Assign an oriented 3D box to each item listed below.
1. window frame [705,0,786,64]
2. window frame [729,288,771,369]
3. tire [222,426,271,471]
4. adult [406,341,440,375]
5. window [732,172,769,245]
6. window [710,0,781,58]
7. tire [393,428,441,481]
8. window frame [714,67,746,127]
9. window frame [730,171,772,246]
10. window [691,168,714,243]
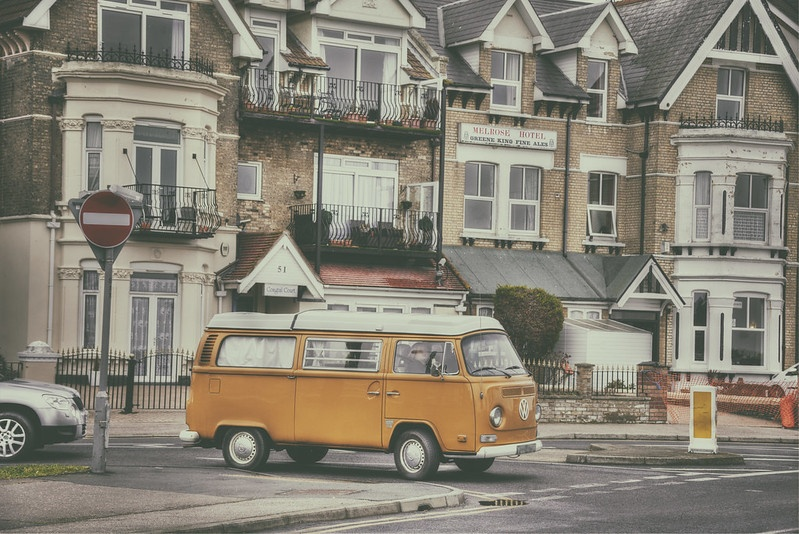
[{"bbox_3d":[12.171,-8.443,64.953,2.408,1.685,0.032,1,4,-16],"label":"window frame"},{"bbox_3d":[12.291,2.266,64.521,1.505,2.657,0.219,2,-3,-16],"label":"window frame"},{"bbox_3d":[-3.813,4.472,45.104,1.096,1.072,0.390,1,-4,20],"label":"tire"},{"bbox_3d":[0.567,2.237,44.628,0.568,0.817,0.475,8,-44,9],"label":"adult"},{"bbox_3d":[12.331,-2.126,64.362,1.393,2.480,0.219,4,-5,0],"label":"window"},{"bbox_3d":[12.191,-8.591,64.926,2.127,1.545,0.108,4,1,-23],"label":"window"},{"bbox_3d":[0.417,4.534,44.398,0.918,0.919,0.332,48,6,15],"label":"tire"},{"bbox_3d":[11.812,-6.230,65.476,1.108,2.114,0.125,4,-4,-3],"label":"window frame"},{"bbox_3d":[12.338,-2.113,64.347,1.410,2.495,0.219,3,-2,-11],"label":"window frame"},{"bbox_3d":[10.665,-2.208,64.300,0.675,2.696,0.251,1,-4,15],"label":"window"}]
